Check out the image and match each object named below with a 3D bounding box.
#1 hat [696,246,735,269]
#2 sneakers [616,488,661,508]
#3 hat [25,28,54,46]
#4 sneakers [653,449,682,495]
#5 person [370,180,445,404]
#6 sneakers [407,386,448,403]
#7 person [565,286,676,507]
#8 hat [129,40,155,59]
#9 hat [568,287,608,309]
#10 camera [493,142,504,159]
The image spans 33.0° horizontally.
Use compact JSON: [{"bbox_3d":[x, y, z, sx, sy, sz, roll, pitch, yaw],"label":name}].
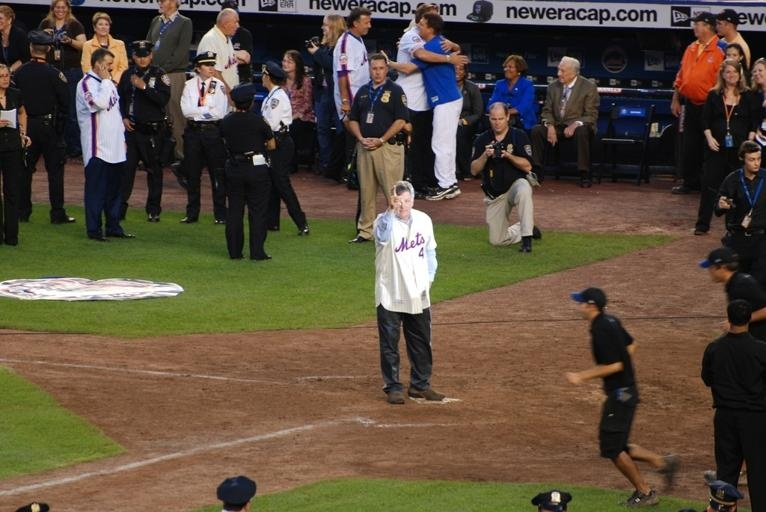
[{"bbox_3d":[3.702,0.023,14.416,0.379,0.142,0.230,1,9,16],"label":"hat"},{"bbox_3d":[2.560,2.472,13.077,0.443,0.142,0.138,-3,1,-7],"label":"sneakers"},{"bbox_3d":[-5.451,-3.473,20.646,0.344,0.239,0.436,-2,7,-16],"label":"hat"},{"bbox_3d":[2.979,2.264,13.433,0.200,0.434,0.224,-19,36,-30],"label":"sneakers"},{"bbox_3d":[0.308,0.442,15.333,0.825,2.609,0.531,0,9,-1],"label":"person"},{"bbox_3d":[0.510,1.675,15.494,0.497,0.127,0.161,1,3,15],"label":"sneakers"},{"bbox_3d":[2.392,1.427,13.295,1.097,2.111,0.655,8,12,43],"label":"person"},{"bbox_3d":[-4.066,-3.506,21.815,0.437,0.162,0.457,-2,2,-8],"label":"hat"},{"bbox_3d":[2.155,0.447,13.524,0.360,0.161,0.203,19,22,4],"label":"hat"},{"bbox_3d":[1.846,-1.702,20.729,0.153,0.229,0.100,-1,9,-8],"label":"camera"}]
